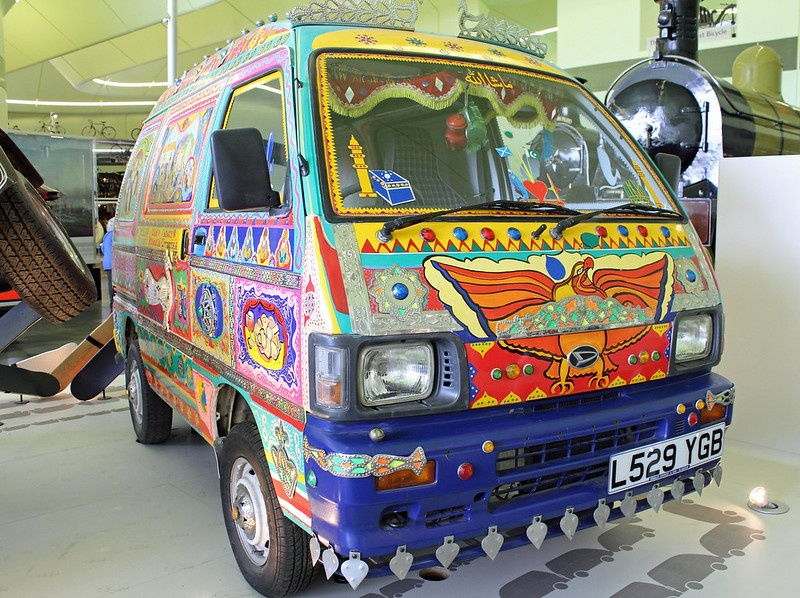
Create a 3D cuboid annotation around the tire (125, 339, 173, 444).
[{"bbox_3d":[-2.033,0.745,4.803,0.215,0.713,0.675,-1,28,-26],"label":"tire"}]
